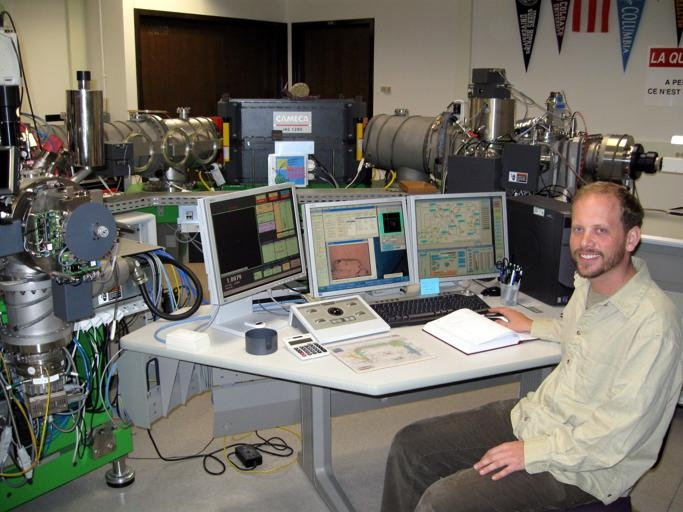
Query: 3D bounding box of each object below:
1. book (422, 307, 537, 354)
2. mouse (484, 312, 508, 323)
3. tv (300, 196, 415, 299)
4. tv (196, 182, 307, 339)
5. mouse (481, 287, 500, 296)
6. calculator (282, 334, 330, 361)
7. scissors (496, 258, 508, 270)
[{"bbox_3d":[0.515,0.300,2.107,0.227,0.042,0.204,-9,21,-31],"label":"book"},{"bbox_3d":[0.664,0.260,2.228,0.061,0.016,0.041,14,18,21],"label":"mouse"},{"bbox_3d":[0.079,-0.039,2.400,0.404,0.366,0.043,-9,4,-17],"label":"tv"},{"bbox_3d":[-0.364,0.037,2.196,0.275,0.581,0.489,16,24,37],"label":"tv"},{"bbox_3d":[0.739,0.175,2.572,0.052,0.015,0.051,-11,17,-35],"label":"mouse"},{"bbox_3d":[-0.137,0.349,2.003,0.124,0.032,0.167,-12,19,-28],"label":"calculator"},{"bbox_3d":[0.792,0.039,2.578,0.047,0.024,0.069,-2,8,15],"label":"scissors"}]
